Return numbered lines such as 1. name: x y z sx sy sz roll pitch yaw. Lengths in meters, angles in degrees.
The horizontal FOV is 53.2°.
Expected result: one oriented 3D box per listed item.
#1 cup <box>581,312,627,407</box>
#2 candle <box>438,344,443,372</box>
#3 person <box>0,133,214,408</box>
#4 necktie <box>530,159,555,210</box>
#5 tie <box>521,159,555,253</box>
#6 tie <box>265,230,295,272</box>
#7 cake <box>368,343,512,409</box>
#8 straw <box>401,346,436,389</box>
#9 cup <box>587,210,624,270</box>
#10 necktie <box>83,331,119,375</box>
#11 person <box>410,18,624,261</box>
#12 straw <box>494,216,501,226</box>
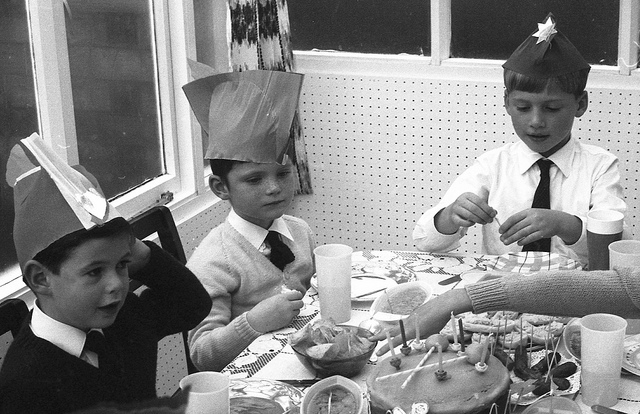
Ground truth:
1. cup: 0.772 0.401 1.740 0.104 0.228 0.197 6 15 31
2. candle: 0.316 0.400 1.679 0.013 0.097 0.012 -2 36 12
3. person: -0.653 0.195 1.871 0.462 0.843 0.653 0 13 9
4. necktie: 0.947 -0.101 2.699 0.074 0.189 0.115 4 14 22
5. tie: 0.947 -0.035 2.711 0.096 0.074 0.598 -7 41 29
6. tie: -0.155 0.168 2.376 0.039 0.130 0.131 -28 25 56
7. cake: 0.317 0.451 1.667 0.227 0.055 0.232 -1 13 14
8. straw: 0.263 0.432 1.700 0.010 0.013 0.130 36 64 23
9. cup: 0.933 0.112 2.105 0.117 0.210 0.139 -3 5 37
10. necktie: -0.642 0.424 1.854 0.088 0.136 0.042 -6 13 -18
11. person: 0.881 -0.212 2.691 0.750 1.109 1.039 7 15 32
12. straw: 0.700 0.063 2.498 0.010 0.057 0.011 -33 16 7
